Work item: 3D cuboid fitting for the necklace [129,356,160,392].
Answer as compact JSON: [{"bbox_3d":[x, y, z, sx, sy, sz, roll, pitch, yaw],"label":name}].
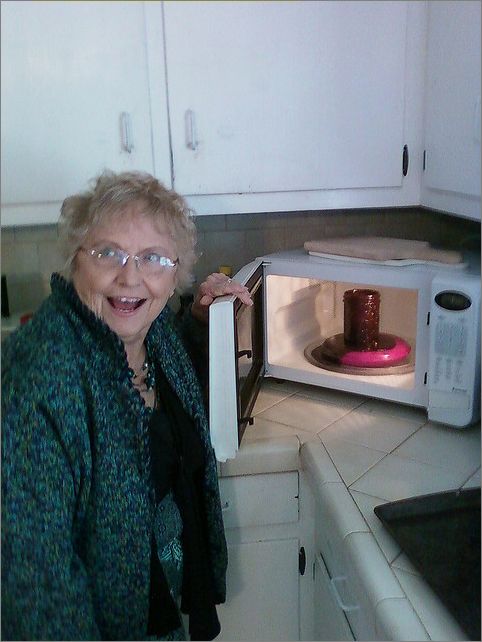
[{"bbox_3d":[-0.166,0.095,0.912,0.030,0.066,0.023,-1,-1,17],"label":"necklace"}]
